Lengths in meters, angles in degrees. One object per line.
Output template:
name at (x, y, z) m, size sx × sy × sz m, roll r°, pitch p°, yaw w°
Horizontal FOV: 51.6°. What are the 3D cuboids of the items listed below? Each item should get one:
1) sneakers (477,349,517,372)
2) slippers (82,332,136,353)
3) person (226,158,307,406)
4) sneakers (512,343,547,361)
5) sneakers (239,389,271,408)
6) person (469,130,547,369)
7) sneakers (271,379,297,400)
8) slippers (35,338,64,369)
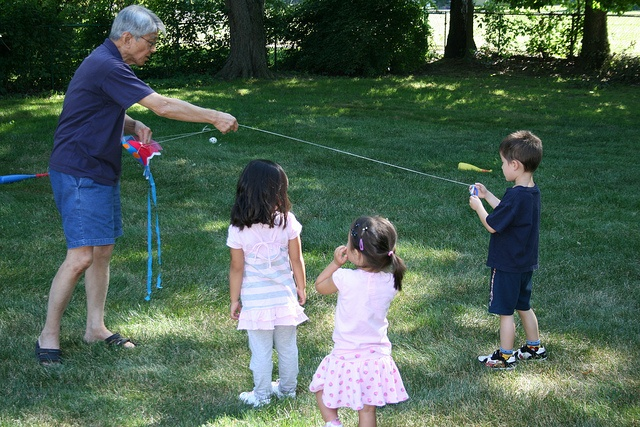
sneakers at (1.711, 1.412, 6.359) m, size 0.386 × 0.185 × 0.145 m, roll 3°, pitch -4°, yaw 6°
slippers at (-1.938, 1.233, 6.392) m, size 0.302 × 0.088 × 0.127 m, roll 7°, pitch 19°, yaw 26°
person at (-0.457, 0.606, 5.868) m, size 0.679 × 2.134 × 0.459 m, roll -3°, pitch 10°, yaw -9°
sneakers at (2.067, 1.370, 6.539) m, size 0.312 × 0.140 × 0.131 m, roll 1°, pitch 0°, yaw 6°
sneakers at (-0.590, 1.643, 5.924) m, size 0.288 × 0.120 × 0.114 m, roll 11°, pitch 4°, yaw 20°
person at (1.853, 0.340, 6.378) m, size 0.706 × 2.226 × 0.486 m, roll -3°, pitch 10°, yaw -10°
sneakers at (-0.343, 1.604, 6.008) m, size 0.112 × 0.108 × 0.250 m, roll 0°, pitch 11°, yaw -12°
slippers at (-2.511, 1.304, 6.151) m, size 0.228 × 0.128 × 0.518 m, roll 2°, pitch 2°, yaw -33°
